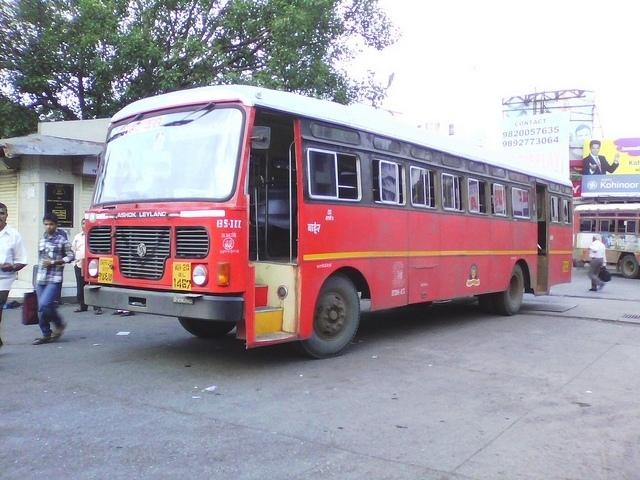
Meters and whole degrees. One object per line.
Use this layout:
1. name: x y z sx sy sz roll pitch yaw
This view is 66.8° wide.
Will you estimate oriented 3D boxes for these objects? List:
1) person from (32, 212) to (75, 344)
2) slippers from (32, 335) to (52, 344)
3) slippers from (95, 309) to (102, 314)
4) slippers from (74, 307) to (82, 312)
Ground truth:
1. person: -4.596 0.663 8.377 0.587 2.208 0.539 0 1 -31
2. slippers: -4.731 1.721 8.351 0.345 0.145 0.114 13 -5 -43
3. slippers: -5.229 1.684 11.437 0.132 0.080 0.193 0 -2 -13
4. slippers: -5.851 1.688 11.753 0.102 0.150 0.349 1 1 -22
